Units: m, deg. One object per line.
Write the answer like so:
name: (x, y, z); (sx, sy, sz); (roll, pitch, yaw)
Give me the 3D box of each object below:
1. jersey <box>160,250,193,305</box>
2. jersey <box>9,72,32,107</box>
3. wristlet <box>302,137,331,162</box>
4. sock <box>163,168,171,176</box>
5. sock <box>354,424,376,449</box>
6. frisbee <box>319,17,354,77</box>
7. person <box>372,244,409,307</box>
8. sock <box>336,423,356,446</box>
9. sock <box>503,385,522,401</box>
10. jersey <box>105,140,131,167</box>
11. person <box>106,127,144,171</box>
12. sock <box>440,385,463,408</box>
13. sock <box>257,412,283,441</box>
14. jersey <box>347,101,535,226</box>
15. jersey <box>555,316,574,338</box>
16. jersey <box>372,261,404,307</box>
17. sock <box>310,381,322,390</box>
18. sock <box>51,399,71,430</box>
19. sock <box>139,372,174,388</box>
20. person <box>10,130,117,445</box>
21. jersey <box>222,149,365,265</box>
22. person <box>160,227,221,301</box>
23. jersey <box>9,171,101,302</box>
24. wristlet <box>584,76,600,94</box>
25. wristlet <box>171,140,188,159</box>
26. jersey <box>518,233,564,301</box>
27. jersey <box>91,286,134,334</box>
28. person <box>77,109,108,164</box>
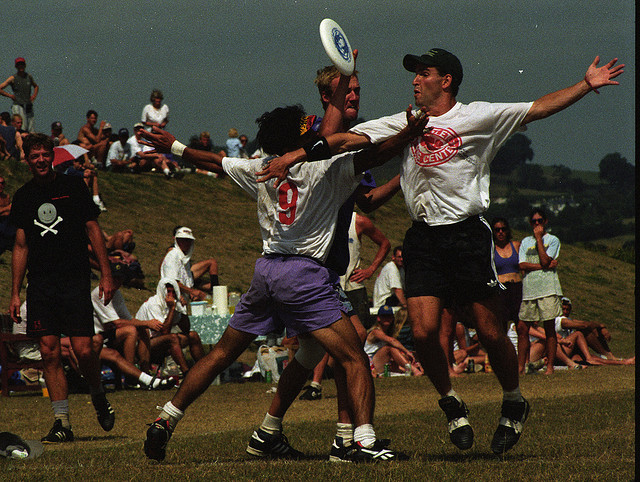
jersey: (-2.249, 0.595, 22.297); (0.440, 0.808, 0.809); (-5, -5, 24)
jersey: (-6.429, -3.378, 30.628); (0.467, 0.734, 0.540); (9, 30, 13)
wristlet: (-0.028, -1.016, 15.633); (0.237, 0.261, 0.255); (-12, 13, 7)
sock: (-4.145, -1.922, 38.555); (0.185, 0.200, 0.058); (5, -3, 4)
sock: (0.522, 2.186, 15.722); (0.258, 0.279, 0.195); (-1, 1, 3)
frisbee: (0.193, -2.207, 15.969); (0.483, 0.621, 0.256); (-5, -1, -44)
person: (1.324, 0.616, 23.387); (0.730, 1.088, 0.609); (1, -4, 24)
sock: (0.311, 2.211, 16.079); (0.171, 0.263, 0.254); (1, 1, 1)
sock: (2.225, 1.757, 16.265); (0.198, 0.160, 0.283); (-6, -1, 5)
jersey: (-5.059, -2.278, 35.750); (0.641, 0.559, 0.657); (-6, -1, -13)
person: (-5.007, -2.321, 35.973); (0.752, 1.293, 0.973); (-3, 7, 24)
sock: (1.539, 1.807, 16.299); (0.196, 0.246, 0.274); (-9, 27, 5)
sock: (-0.568, 2.146, 16.213); (0.236, 0.332, 0.320); (8, -9, -12)
jersey: (1.453, -0.895, 16.346); (2.447, 1.462, 0.695); (-4, -6, 27)
jersey: (4.089, 1.422, 23.467); (0.292, 0.346, 0.571); (-6, -1, 9)
jersey: (1.105, 0.708, 23.355); (0.422, 0.701, 0.654); (-5, -1, -36)
sock: (-0.042, 2.046, 19.901); (0.094, 0.101, 0.131); (14, 12, -2)
sock: (-3.165, 2.147, 17.355); (0.189, 0.324, 0.254); (-5, -1, -11)
sock: (-2.422, 2.056, 20.952); (0.457, 0.197, 0.164); (-6, 37, -9)
person: (-3.221, 0.558, 17.573); (1.213, 3.896, 1.182); (-3, -6, -9)
jersey: (-0.271, -0.391, 16.151); (2.328, 1.288, 0.587); (4, 12, 32)
person: (-2.018, 0.355, 22.736); (1.005, 1.157, 0.895); (-8, 15, -29)
jersey: (-3.221, 0.323, 17.387); (1.096, 2.411, 0.529); (-5, -20, -11)
wristlet: (3.014, -1.748, 15.608); (0.134, 0.197, 0.250); (-6, -1, 11)
wristlet: (-1.651, -1.084, 16.586); (0.143, 0.192, 0.317); (-5, -1, -24)
jersey: (3.427, 0.389, 21.895); (0.620, 1.007, 0.523); (-6, -1, 16)
jersey: (-3.082, 1.018, 21.009); (0.489, 0.694, 0.690); (4, 5, 19)
person: (-5.408, -2.458, 33.929); (0.701, 1.372, 0.568); (9, 18, 9)
